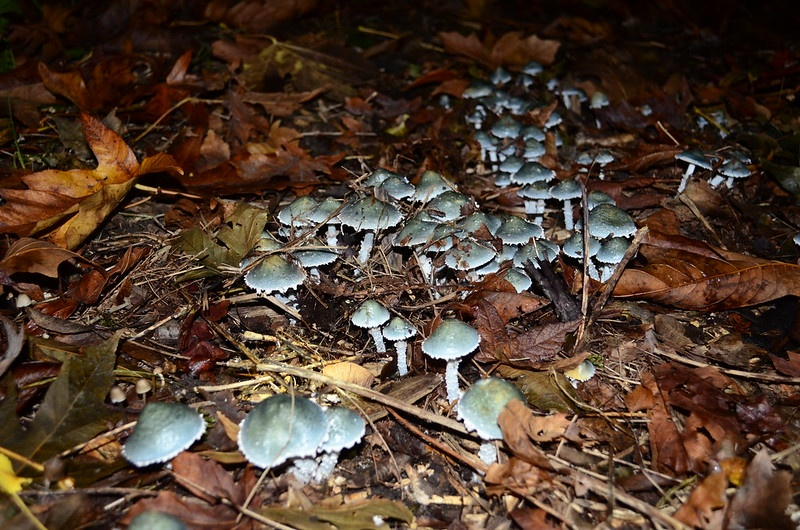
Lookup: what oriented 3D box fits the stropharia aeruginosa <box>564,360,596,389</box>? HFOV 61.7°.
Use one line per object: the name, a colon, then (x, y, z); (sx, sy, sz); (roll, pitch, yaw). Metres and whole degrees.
stropharia aeruginosa: (2.141, 1.326, 8.077); (0.370, 0.170, 0.340); (18, 60, 42)
